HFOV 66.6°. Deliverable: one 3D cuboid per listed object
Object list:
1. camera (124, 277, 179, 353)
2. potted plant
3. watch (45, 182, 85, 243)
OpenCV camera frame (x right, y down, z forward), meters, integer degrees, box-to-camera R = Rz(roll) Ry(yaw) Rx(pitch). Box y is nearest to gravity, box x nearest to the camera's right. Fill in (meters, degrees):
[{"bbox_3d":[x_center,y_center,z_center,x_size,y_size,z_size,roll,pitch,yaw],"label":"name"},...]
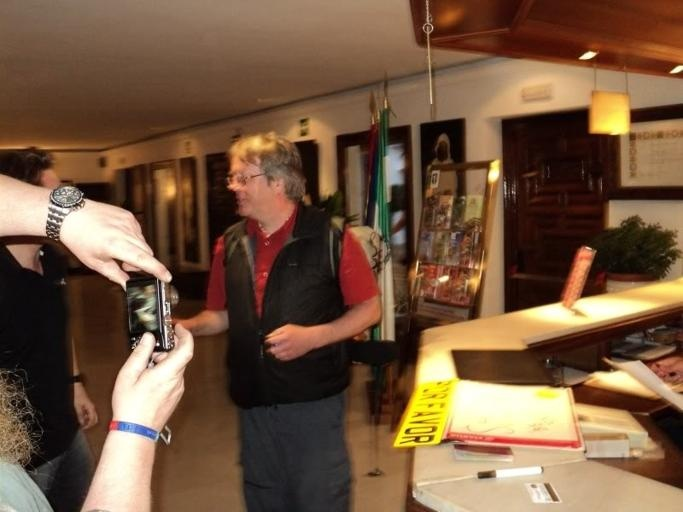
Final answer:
[{"bbox_3d":[-0.428,0.132,1.145,0.111,0.156,0.103,2,-20,-37],"label":"camera"},{"bbox_3d":[2.355,-0.010,4.465,0.721,0.672,0.657,0,-1,-4],"label":"potted plant"},{"bbox_3d":[-0.588,-0.082,1.073,0.064,0.093,0.101,5,19,-32],"label":"watch"}]
